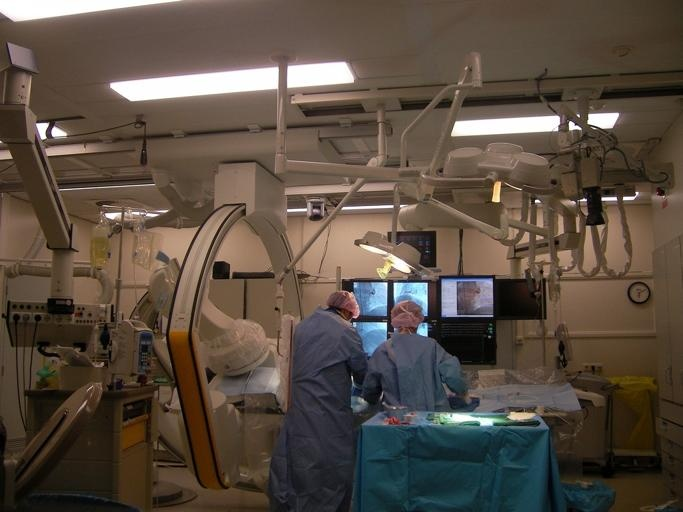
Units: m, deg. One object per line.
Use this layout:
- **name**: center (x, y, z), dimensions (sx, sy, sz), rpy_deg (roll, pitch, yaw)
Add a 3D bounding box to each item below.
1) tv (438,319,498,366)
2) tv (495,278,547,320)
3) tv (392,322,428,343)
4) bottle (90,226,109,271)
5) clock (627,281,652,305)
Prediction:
- **tv**: center (1.455, 0.827, 7.138), dimensions (0.719, 0.680, 0.451), rpy_deg (-1, -6, 10)
- **tv**: center (1.950, 0.471, 6.771), dimensions (0.416, 0.396, 0.046), rpy_deg (0, -1, 5)
- **tv**: center (0.577, 0.646, 5.292), dimensions (0.298, 0.240, 0.033), rpy_deg (1, -12, -3)
- **bottle**: center (-1.947, -0.087, 4.989), dimensions (0.131, 0.362, 0.279), rpy_deg (3, -7, -23)
- **clock**: center (3.839, 0.479, 7.991), dimensions (0.240, 0.303, 0.047), rpy_deg (5, -7, 7)
